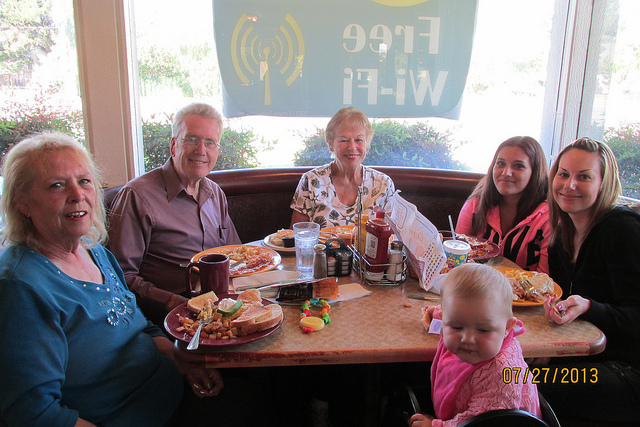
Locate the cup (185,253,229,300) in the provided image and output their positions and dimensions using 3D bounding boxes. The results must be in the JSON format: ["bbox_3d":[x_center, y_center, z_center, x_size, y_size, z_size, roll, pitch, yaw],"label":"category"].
[{"bbox_3d":[-0.525,0.298,2.051,0.216,0.196,0.133,-12,21,-41],"label":"cup"}]

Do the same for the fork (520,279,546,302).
[{"bbox_3d":[0.978,0.353,2.047,0.041,0.005,0.132,-24,39,-9],"label":"fork"}]

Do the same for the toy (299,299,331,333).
[{"bbox_3d":[-0.020,0.446,1.946,0.141,0.055,0.231,5,24,3],"label":"toy"}]

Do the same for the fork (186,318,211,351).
[{"bbox_3d":[-0.499,0.483,1.784,0.040,0.014,0.129,12,21,-5],"label":"fork"}]

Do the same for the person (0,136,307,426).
[{"bbox_3d":[-0.842,0.320,1.923,0.925,1.275,0.657,-6,19,-12],"label":"person"}]

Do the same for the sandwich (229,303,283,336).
[{"bbox_3d":[-0.262,0.435,1.835,0.127,0.041,0.133,-5,18,-8],"label":"sandwich"}]

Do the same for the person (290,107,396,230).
[{"bbox_3d":[0.152,-0.352,3.338,0.993,1.064,0.524,0,9,-12],"label":"person"}]

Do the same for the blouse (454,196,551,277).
[{"bbox_3d":[1.183,0.165,2.959,0.595,0.466,0.371,10,22,-3],"label":"blouse"}]

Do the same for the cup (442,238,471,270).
[{"bbox_3d":[0.668,0.190,2.218,0.139,0.140,0.135,0,21,0],"label":"cup"}]
